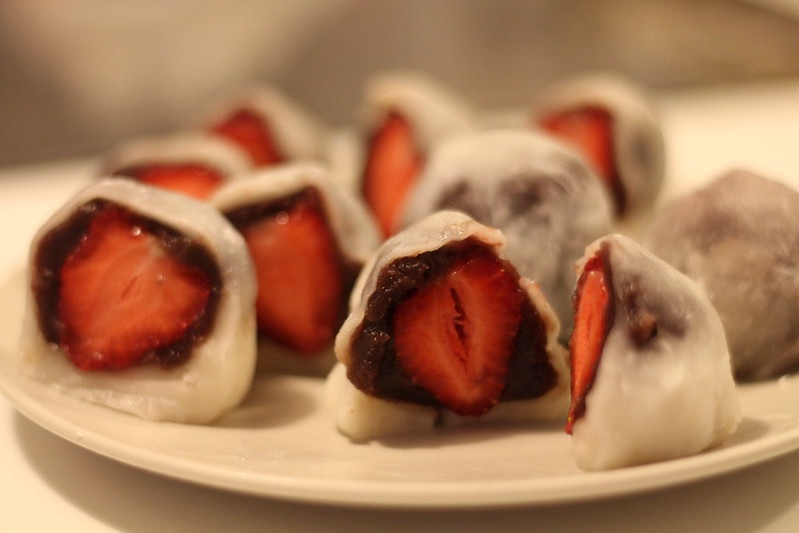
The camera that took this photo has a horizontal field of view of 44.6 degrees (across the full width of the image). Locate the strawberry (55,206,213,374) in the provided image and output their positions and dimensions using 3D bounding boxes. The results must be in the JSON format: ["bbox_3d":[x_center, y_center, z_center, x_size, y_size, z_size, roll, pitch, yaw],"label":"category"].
[{"bbox_3d":[-0.343,0.051,1.211,0.202,0.077,0.209,-22,59,-17],"label":"strawberry"}]

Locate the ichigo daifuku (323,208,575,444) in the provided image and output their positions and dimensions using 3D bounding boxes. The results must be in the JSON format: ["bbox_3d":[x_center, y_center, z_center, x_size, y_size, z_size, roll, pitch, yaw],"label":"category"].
[{"bbox_3d":[0.057,0.082,1.143,0.277,0.158,0.274,-1,87,-5],"label":"ichigo daifuku"}]

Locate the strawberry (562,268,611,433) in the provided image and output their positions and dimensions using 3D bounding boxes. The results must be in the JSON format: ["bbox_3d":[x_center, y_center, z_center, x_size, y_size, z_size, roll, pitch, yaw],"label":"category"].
[{"bbox_3d":[0.214,0.096,1.084,0.040,0.056,0.171,13,77,-18],"label":"strawberry"}]
